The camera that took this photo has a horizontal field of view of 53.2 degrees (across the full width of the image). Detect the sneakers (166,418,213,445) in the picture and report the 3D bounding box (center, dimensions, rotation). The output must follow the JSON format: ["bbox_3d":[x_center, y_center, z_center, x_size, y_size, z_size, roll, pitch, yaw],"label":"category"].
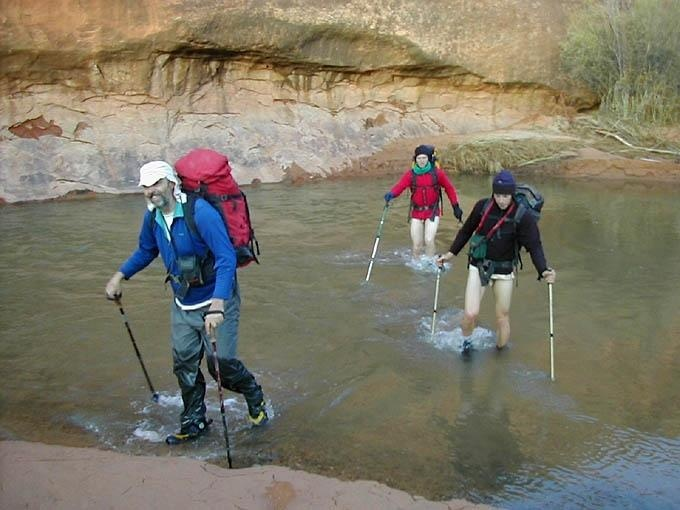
[{"bbox_3d":[-1.809,2.135,8.200,0.614,0.262,0.196,-15,35,-22],"label":"sneakers"}]

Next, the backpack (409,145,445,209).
[{"bbox_3d":[1.646,-1.509,12.743,0.889,1.105,0.424,3,15,23],"label":"backpack"}]

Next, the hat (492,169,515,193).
[{"bbox_3d":[2.199,-0.987,9.117,0.275,0.324,0.324,3,12,17],"label":"hat"}]

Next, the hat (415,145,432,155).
[{"bbox_3d":[1.535,-1.909,12.322,0.398,0.180,0.296,-2,11,-8],"label":"hat"}]

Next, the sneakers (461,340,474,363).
[{"bbox_3d":[1.853,1.385,9.887,0.217,0.265,0.120,3,1,-38],"label":"sneakers"}]

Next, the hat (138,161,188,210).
[{"bbox_3d":[-2.015,-0.791,7.759,0.489,0.561,0.333,-4,13,-14],"label":"hat"}]

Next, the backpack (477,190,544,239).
[{"bbox_3d":[2.411,-0.661,9.393,0.502,0.624,0.680,32,25,30],"label":"backpack"}]
